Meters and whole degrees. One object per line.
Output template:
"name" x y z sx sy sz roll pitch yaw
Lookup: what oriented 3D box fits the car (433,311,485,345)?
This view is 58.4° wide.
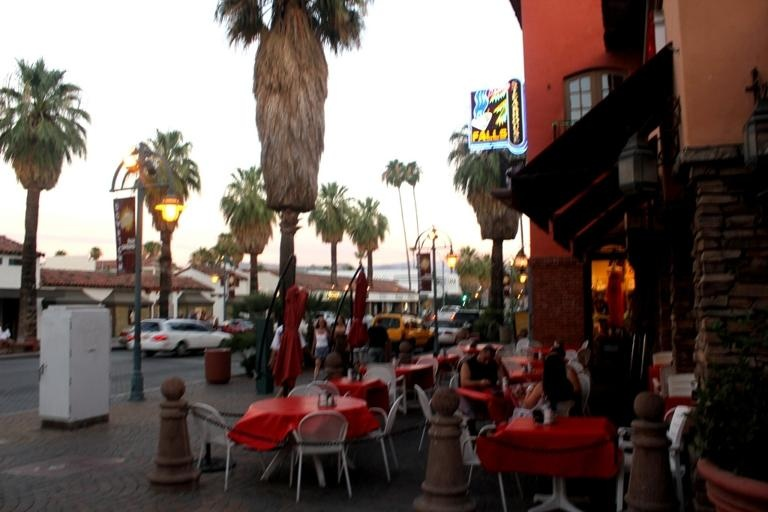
"car" 4.030 3.560 38.544 1.597 1.220 3.281 0 9 20

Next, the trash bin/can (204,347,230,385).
"trash bin/can" -4.967 3.290 20.578 0.810 1.017 0.833 1 -1 -21

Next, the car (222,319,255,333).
"car" -8.941 4.367 42.581 2.675 1.000 1.328 1 -2 44

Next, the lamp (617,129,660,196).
"lamp" 3.916 -1.426 10.575 0.508 0.996 0.480 3 -6 -24
